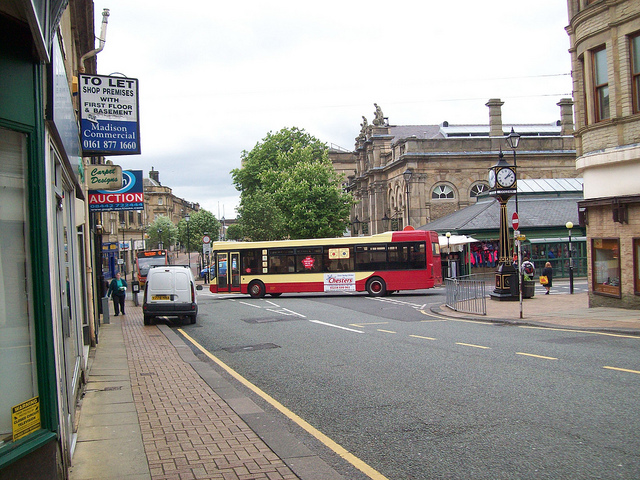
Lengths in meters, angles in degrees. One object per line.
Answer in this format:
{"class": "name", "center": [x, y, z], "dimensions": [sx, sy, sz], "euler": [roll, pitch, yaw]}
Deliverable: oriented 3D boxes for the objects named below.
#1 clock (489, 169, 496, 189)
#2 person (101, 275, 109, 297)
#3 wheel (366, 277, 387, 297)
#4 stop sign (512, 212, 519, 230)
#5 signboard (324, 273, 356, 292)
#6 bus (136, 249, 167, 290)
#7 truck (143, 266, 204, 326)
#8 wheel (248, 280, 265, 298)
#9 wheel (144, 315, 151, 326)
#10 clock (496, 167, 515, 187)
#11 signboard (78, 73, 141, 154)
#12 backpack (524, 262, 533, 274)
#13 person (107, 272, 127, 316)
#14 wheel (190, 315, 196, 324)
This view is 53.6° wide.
{"class": "clock", "center": [6.973, -2.502, 25.796], "dimensions": [0.203, 0.799, 0.573], "euler": [-1, 2, -2]}
{"class": "person", "center": [-9.591, 2.033, 28.261], "dimensions": [0.257, 0.392, 0.978], "euler": [-18, -13, -23]}
{"class": "wheel", "center": [2.823, 2.314, 31.790], "dimensions": [0.963, 0.955, 0.499], "euler": [-1, 3, 5]}
{"class": "stop sign", "center": [6.329, -0.636, 20.611], "dimensions": [0.153, 0.510, 0.881], "euler": [0, 2, 15]}
{"class": "signboard", "center": [0.993, 2.082, 31.953], "dimensions": [1.581, 0.890, 0.368], "euler": [-1, 3, 1]}
{"class": "bus", "center": [-12.656, 1.652, 46.539], "dimensions": [2.055, 2.547, 5.913], "euler": [0, -6, -8]}
{"class": "truck", "center": [-5.069, 1.735, 21.338], "dimensions": [1.713, 1.674, 0.336], "euler": [-1, 3, -1]}
{"class": "wheel", "center": [-3.298, 2.482, 32.981], "dimensions": [0.825, 0.938, 0.317], "euler": [3, 7, 15]}
{"class": "wheel", "center": [-6.058, 2.793, 22.201], "dimensions": [0.334, 0.313, 0.345], "euler": [0, -8, 0]}
{"class": "clock", "center": [7.457, -2.544, 25.617], "dimensions": [0.686, 0.696, 0.092], "euler": [9, -12, 4]}
{"class": "signboard", "center": [-4.891, -2.965, 14.744], "dimensions": [1.327, 1.880, 0.660], "euler": [-2, 3, -21]}
{"class": "backpack", "center": [8.909, 1.164, 27.154], "dimensions": [0.449, 0.453, 0.342], "euler": [-5, -2, 43]}
{"class": "person", "center": [-8.199, 2.167, 25.693], "dimensions": [0.836, 1.764, 0.713], "euler": [-3, 12, -29]}
{"class": "wheel", "center": [-4.374, 2.741, 21.859], "dimensions": [0.201, 0.270, 0.384], "euler": [0, -2, -14]}
